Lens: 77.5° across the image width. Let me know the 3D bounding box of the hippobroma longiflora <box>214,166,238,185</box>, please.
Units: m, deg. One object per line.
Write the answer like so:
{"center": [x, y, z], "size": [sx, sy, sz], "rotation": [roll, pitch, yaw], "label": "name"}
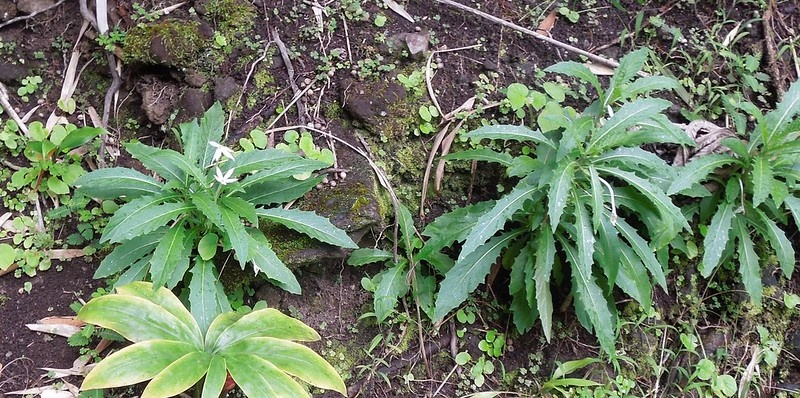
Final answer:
{"center": [-1.693, -0.212, 4.914], "size": [0.210, 0.083, 0.194], "rotation": [-30, 71, -5], "label": "hippobroma longiflora"}
